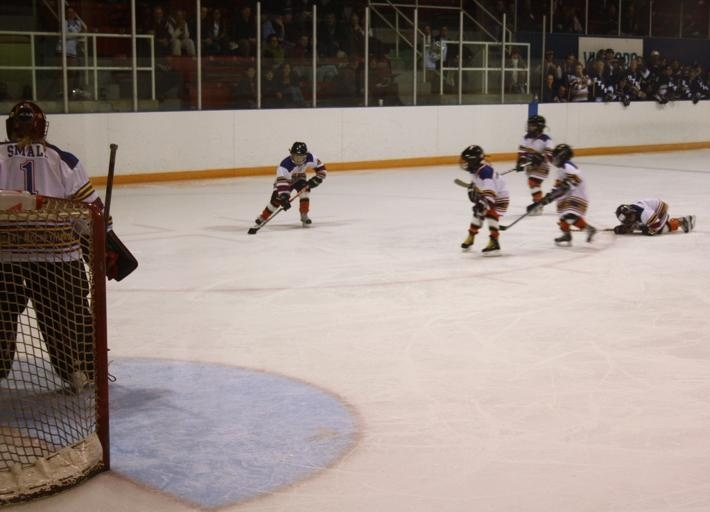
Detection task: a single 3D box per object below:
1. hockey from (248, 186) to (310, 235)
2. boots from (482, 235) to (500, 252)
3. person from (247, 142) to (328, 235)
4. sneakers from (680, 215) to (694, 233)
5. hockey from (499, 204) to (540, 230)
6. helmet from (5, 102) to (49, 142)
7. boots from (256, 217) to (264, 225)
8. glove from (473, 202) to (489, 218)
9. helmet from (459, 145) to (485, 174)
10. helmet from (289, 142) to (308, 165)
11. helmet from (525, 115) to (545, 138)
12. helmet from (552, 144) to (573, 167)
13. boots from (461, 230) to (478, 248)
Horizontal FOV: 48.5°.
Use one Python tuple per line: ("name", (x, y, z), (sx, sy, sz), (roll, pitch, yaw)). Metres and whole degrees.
("hockey", (-0.843, -0.494, 8.885), (0.136, 0.173, 1.195), (21, 38, 21))
("boots", (1.242, -0.107, 7.153), (0.161, 0.142, 0.145), (1, 13, 2))
("person", (-0.691, -0.781, 8.672), (0.871, 0.996, 0.584), (-14, 33, -30))
("sneakers", (3.450, -0.325, 8.153), (0.090, 0.232, 0.106), (4, -5, 3))
("hockey", (1.837, -0.417, 8.753), (0.654, 0.118, 0.117), (-27, 46, -32))
("helmet", (-1.605, -0.644, 3.896), (0.190, 0.210, 0.195), (2, 3, -16))
("boots", (-0.998, -0.366, 8.226), (0.062, 0.078, 0.043), (28, -27, 6))
("glove", (1.142, -0.424, 7.156), (0.129, 0.122, 0.126), (4, 4, -1))
("helmet", (1.064, -0.899, 7.220), (0.281, 0.244, 0.209), (-7, 27, -1))
("helmet", (-0.601, -1.096, 8.445), (0.185, 0.236, 0.279), (-1, 13, -6))
("helmet", (2.183, -1.561, 9.554), (0.272, 0.238, 0.220), (0, 18, 8))
("helmet", (2.048, -0.989, 7.794), (0.201, 0.221, 0.236), (-7, 10, 14))
("boots", (1.075, -0.164, 7.426), (0.139, 0.201, 0.347), (2, 13, 8))
